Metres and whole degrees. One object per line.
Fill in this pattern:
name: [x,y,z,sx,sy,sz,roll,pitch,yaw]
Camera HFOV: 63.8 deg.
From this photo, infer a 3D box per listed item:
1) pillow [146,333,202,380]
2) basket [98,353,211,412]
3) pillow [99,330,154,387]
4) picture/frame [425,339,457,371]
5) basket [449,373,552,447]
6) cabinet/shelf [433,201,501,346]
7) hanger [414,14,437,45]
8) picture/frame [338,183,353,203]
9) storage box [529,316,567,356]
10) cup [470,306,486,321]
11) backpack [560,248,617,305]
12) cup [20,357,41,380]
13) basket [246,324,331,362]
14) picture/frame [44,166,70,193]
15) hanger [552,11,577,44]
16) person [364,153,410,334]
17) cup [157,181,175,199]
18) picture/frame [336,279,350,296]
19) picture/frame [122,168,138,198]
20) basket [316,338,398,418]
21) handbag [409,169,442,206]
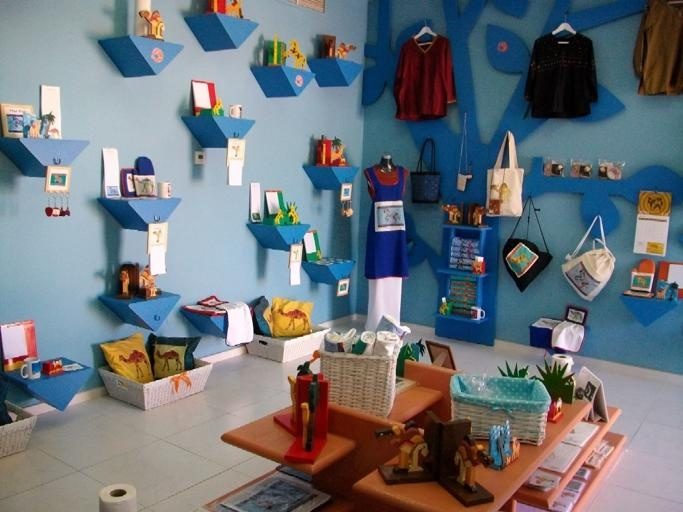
pillow: [-1.496,0.902,4.814,0.323,0.362,0.132,-1,-20,1]
basket: [-1.496,1.104,4.644,0.423,0.192,0.551,7,8,35]
pillow: [-1.822,0.910,4.678,0.115,0.395,0.395,-24,-9,26]
picture/frame: [0.680,0.682,3.796,0.226,0.181,0.235,-6,0,21]
basket: [0.781,0.745,2.752,0.401,0.201,0.328,3,8,19]
cabinet/shelf: [1.413,0.286,6.271,0.756,1.463,0.478,6,12,20]
hanger: [0.967,-2.610,6.322,0.383,0.466,0.023,2,-6,8]
picture/frame: [0.028,-0.723,6.254,0.031,0.246,0.222,7,9,37]
storage box: [2.171,0.830,5.797,0.228,0.340,0.307,6,-3,-29]
cup: [1.536,0.650,6.187,0.163,0.153,0.113,2,-2,19]
backpack: [2.444,0.199,5.537,0.186,0.469,0.508,-28,-13,-38]
cup: [-2.296,0.846,4.116,0.101,0.150,0.169,9,12,21]
basket: [-0.560,0.838,5.713,0.583,0.271,0.823,8,8,41]
picture/frame: [-2.071,-0.562,3.981,0.185,0.224,0.026,-3,8,-45]
hanger: [2.281,-2.337,5.605,0.349,0.438,0.018,3,-16,8]
person: [0.490,-0.129,6.185,0.504,1.972,0.245,1,11,0]
cup: [-1.479,-0.549,4.648,0.168,0.175,0.153,2,9,0]
picture/frame: [0.004,0.372,6.431,0.020,0.215,0.211,11,15,34]
picture/frame: [-1.820,-0.624,4.654,0.112,0.236,0.068,-6,13,-32]
basket: [0.097,0.634,3.040,0.492,0.423,0.335,4,6,19]
handbag: [0.991,-0.814,6.407,0.384,0.590,0.203,2,5,19]
